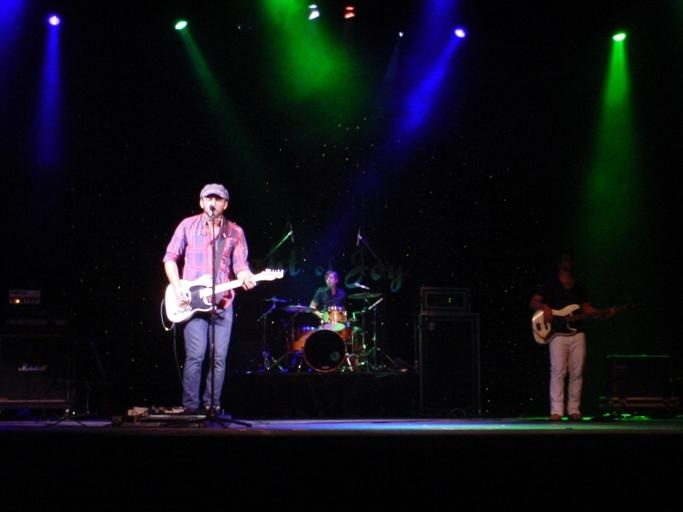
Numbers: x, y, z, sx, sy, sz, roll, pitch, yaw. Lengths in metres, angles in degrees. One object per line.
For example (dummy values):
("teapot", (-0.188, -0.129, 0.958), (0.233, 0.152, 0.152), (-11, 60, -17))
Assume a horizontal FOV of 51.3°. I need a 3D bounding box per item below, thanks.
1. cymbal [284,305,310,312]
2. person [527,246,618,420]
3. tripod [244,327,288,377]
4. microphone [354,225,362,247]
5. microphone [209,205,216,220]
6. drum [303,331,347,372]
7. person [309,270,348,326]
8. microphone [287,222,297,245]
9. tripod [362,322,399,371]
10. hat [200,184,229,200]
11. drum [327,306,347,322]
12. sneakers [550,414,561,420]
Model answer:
("cymbal", (-0.590, 0.689, 9.349), (0.410, 0.098, 0.360), (-1, -6, 20))
("person", (2.535, 0.914, 8.076), (0.744, 1.821, 0.441), (0, -5, 12))
("tripod", (-0.972, 1.198, 9.158), (0.503, 0.536, 0.504), (5, -9, -25))
("microphone", (0.225, -0.251, 9.588), (0.061, 0.249, 0.055), (-10, 29, -25))
("microphone", (-1.209, -0.407, 6.656), (0.048, 0.164, 0.110), (-1, -2, 3))
("drum", (-0.205, 1.132, 8.482), (0.506, 0.501, 0.230), (2, -5, -5))
("person", (-0.159, 0.639, 9.698), (0.651, 0.940, 0.587), (0, -24, 1))
("microphone", (-0.670, -0.308, 9.538), (0.104, 0.262, 0.227), (2, -5, -4))
("tripod", (0.496, 1.165, 9.100), (0.469, 0.723, 0.526), (-3, -5, -2))
("hat", (-1.237, -0.630, 6.932), (0.215, 0.176, 0.218), (1, -5, 8))
("drum", (-0.052, 0.769, 9.343), (0.182, 0.145, 0.193), (-2, -11, 0))
("sneakers", (2.346, 1.777, 7.796), (0.115, 0.044, 0.231), (0, -6, 15))
